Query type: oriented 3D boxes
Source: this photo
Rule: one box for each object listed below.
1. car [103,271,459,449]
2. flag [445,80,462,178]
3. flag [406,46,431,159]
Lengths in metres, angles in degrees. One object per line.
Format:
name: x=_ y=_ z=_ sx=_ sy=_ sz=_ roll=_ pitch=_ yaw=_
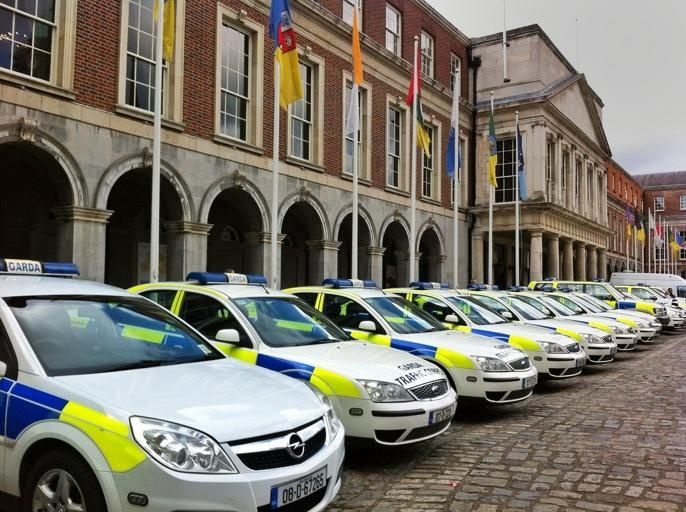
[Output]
car: x=-0.951 y=1.373 z=9.178 sx=4.494 sy=1.600 sz=2.045 roll=8 pitch=1 yaw=34
flag: x=3.752 y=-4.242 z=23.309 sx=0.607 sy=4.168 sz=0.443 roll=-8 pitch=39 yaw=0
flag: x=2.252 y=-4.690 z=21.019 sx=0.727 sy=4.058 sz=0.421 roll=-1 pitch=9 yaw=-4
